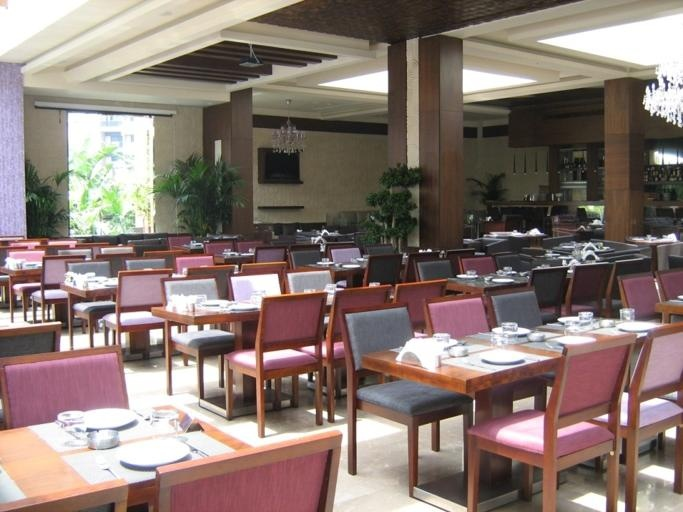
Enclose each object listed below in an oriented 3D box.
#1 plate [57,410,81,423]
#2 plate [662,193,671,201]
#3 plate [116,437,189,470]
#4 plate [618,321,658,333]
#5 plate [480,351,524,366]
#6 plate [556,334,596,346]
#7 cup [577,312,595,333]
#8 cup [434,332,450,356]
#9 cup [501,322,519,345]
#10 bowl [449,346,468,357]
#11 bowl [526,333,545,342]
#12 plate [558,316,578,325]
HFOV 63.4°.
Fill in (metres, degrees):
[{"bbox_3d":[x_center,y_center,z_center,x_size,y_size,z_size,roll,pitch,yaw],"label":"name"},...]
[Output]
[{"bbox_3d":[-1.101,0.648,2.249,0.085,0.035,0.118,-4,5,-23],"label":"plate"},{"bbox_3d":[10.187,-1.830,17.237,0.304,0.237,0.616,1,5,30],"label":"plate"},{"bbox_3d":[-0.666,0.706,1.971,0.247,0.040,0.212,-3,5,-16],"label":"plate"},{"bbox_3d":[1.977,0.478,3.708,0.228,0.054,0.381,0,5,25],"label":"plate"},{"bbox_3d":[0.901,0.570,3.070,0.233,0.036,0.197,-1,5,15],"label":"plate"},{"bbox_3d":[1.411,0.514,3.338,0.214,0.029,0.208,-2,1,1],"label":"plate"},{"bbox_3d":[1.662,0.450,3.796,0.090,0.117,0.144,4,8,39],"label":"cup"},{"bbox_3d":[0.599,0.530,3.259,0.109,0.088,0.096,1,3,25],"label":"cup"},{"bbox_3d":[1.057,0.484,3.453,0.133,0.140,0.129,-1,4,0],"label":"cup"},{"bbox_3d":[0.686,0.560,3.224,0.105,0.043,0.088,-1,5,10],"label":"bowl"},{"bbox_3d":[1.238,0.519,3.495,0.105,0.045,0.073,-1,5,14],"label":"bowl"},{"bbox_3d":[1.556,0.442,3.736,0.176,0.028,0.170,-4,3,-40],"label":"plate"}]
